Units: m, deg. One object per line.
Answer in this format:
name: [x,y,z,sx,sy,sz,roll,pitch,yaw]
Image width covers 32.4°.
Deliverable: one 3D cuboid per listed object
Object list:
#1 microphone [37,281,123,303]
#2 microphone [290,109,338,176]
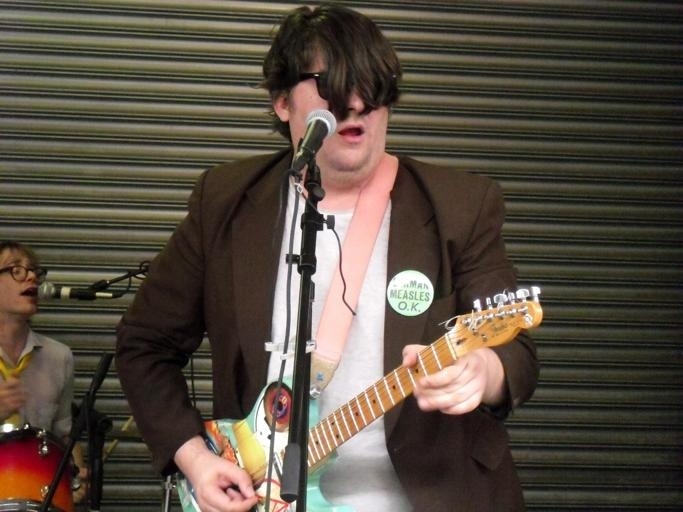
microphone: [-1.757,0.238,7.821,0.627,0.111,0.112,0,30,1]
microphone: [-0.159,-0.576,5.989,0.129,0.374,0.274,-1,-3,38]
